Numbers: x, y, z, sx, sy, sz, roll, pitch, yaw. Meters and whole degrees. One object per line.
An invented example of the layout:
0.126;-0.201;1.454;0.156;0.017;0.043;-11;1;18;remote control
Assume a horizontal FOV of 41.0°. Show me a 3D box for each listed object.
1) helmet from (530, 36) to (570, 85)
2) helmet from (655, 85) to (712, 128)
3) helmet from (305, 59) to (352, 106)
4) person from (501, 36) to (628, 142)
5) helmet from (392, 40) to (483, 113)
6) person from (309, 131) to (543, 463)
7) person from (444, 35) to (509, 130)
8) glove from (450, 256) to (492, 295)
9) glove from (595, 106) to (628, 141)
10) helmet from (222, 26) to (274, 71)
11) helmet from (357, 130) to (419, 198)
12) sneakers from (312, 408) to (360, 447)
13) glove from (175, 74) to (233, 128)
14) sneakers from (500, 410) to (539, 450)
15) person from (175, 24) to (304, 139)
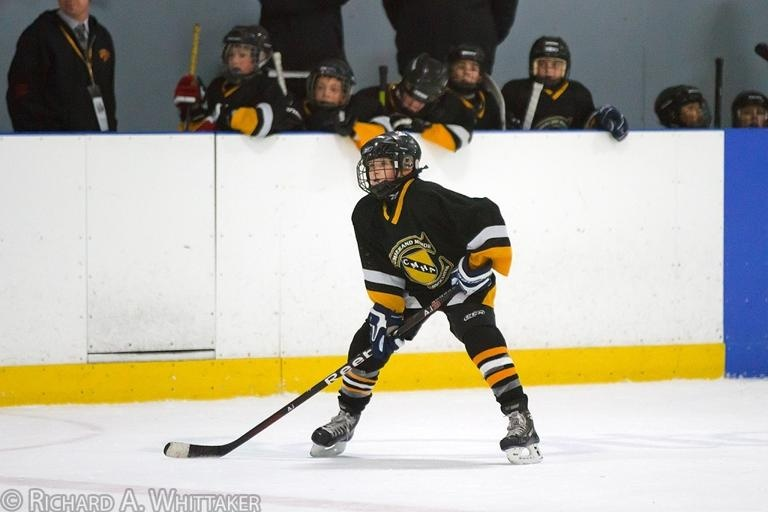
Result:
1.134;-1.343;7.063;0.266;0.341;0.341;6;6;14;helmet
2.114;-1.041;7.282;0.392;0.353;0.365;-6;13;27;helmet
-0.352;-1.158;6.821;0.321;0.351;0.358;6;6;-11;helmet
1.135;-1.066;6.992;0.921;0.837;0.532;-1;5;0;person
0.372;-1.110;6.758;0.369;0.540;0.464;10;4;-6;helmet
0.173;0.275;5.997;0.914;1.756;1.200;14;-25;-34;person
0.597;-1.158;7.052;0.525;0.380;0.741;9;-23;16;person
0.469;0.124;5.526;0.219;0.188;0.174;12;28;-52;glove
1.517;-0.875;6.706;0.099;0.178;0.235;-20;53;-37;glove
-0.909;-1.370;6.824;0.299;0.324;0.364;6;6;19;helmet
0.038;-0.507;5.704;0.371;0.367;0.296;0;-6;-26;helmet
-0.243;0.938;5.674;0.129;0.155;0.381;25;22;35;sneakers
-1.217;-1.017;6.864;0.301;0.413;0.193;-2;11;18;glove
0.712;0.920;5.462;0.103;0.197;0.291;-24;-17;40;sneakers
-0.967;-1.136;6.667;0.847;0.770;0.439;3;-3;16;person
